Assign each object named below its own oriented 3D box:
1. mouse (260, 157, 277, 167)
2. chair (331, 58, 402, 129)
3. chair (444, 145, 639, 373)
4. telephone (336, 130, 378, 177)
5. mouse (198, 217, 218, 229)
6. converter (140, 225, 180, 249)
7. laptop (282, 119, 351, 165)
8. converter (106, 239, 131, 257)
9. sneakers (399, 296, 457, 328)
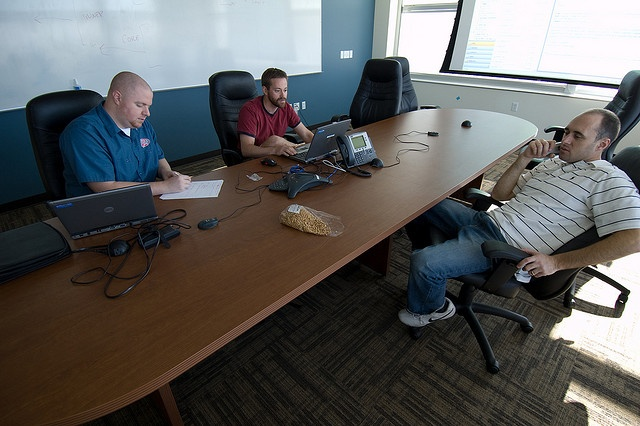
[{"bbox_3d":[-0.399,-0.414,2.961,0.110,0.035,0.063,21,40,34],"label":"mouse"},{"bbox_3d":[0.495,-1.250,4.260,0.670,0.937,0.818,20,29,33],"label":"chair"},{"bbox_3d":[1.503,0.360,2.565,0.890,1.293,0.865,28,32,6],"label":"chair"},{"bbox_3d":[0.287,-0.483,2.914,0.293,0.145,0.371,-19,79,-26],"label":"telephone"},{"bbox_3d":[-0.701,0.065,2.336,0.064,0.029,0.092,20,31,31],"label":"mouse"},{"bbox_3d":[-0.962,0.136,2.252,0.148,0.034,0.146,-21,38,-37],"label":"converter"},{"bbox_3d":[0.033,-0.579,3.129,0.531,0.324,0.501,5,23,-18],"label":"laptop"},{"bbox_3d":[-1.166,0.205,2.182,0.112,0.043,0.084,-2,17,40],"label":"converter"},{"bbox_3d":[0.744,0.716,2.737,0.474,0.194,0.165,-13,34,-6],"label":"sneakers"}]
